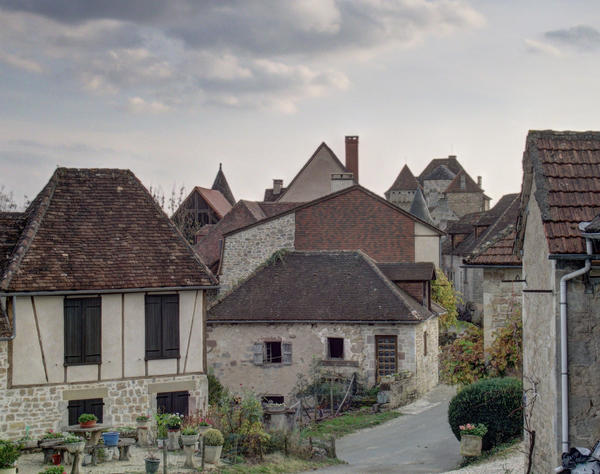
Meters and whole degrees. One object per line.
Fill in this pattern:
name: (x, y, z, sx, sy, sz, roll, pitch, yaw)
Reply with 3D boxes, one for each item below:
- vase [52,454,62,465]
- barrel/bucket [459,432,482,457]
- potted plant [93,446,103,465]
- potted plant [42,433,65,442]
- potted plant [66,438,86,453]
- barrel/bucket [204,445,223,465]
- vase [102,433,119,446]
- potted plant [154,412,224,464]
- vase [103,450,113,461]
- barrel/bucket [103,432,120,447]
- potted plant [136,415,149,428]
vase: (-6.208, 5.661, 29.387, 0.205, 0.170, 0.187, -5, 9, -43)
barrel/bucket: (4.553, 5.498, 30.620, 0.549, 0.607, 0.575, 0, -4, 0)
potted plant: (-5.240, 5.701, 29.972, 0.302, 0.400, 0.912, -2, -10, -2)
potted plant: (-6.381, 5.153, 29.685, 0.586, 0.231, 1.058, -1, -10, -12)
potted plant: (-5.600, 5.173, 28.783, 0.411, 0.364, 0.371, 0, -10, -15)
barrel/bucket: (-2.282, 5.694, 30.183, 0.436, 0.498, 0.289, -1, -9, -13)
vase: (-4.879, 5.204, 29.704, 0.314, 0.226, 0.320, 1, -13, -5)
potted plant: (-2.849, 5.340, 30.563, 1.179, 0.729, 1.378, 3, -20, -11)
vase: (-5.049, 5.719, 30.439, 0.259, 0.319, 0.944, -1, -10, -10)
barrel/bucket: (-4.879, 5.211, 29.706, 0.354, 0.273, 0.362, -1, -13, 0)
potted plant: (-4.302, 5.016, 31.427, 0.305, 0.327, 0.307, 3, -12, -10)
